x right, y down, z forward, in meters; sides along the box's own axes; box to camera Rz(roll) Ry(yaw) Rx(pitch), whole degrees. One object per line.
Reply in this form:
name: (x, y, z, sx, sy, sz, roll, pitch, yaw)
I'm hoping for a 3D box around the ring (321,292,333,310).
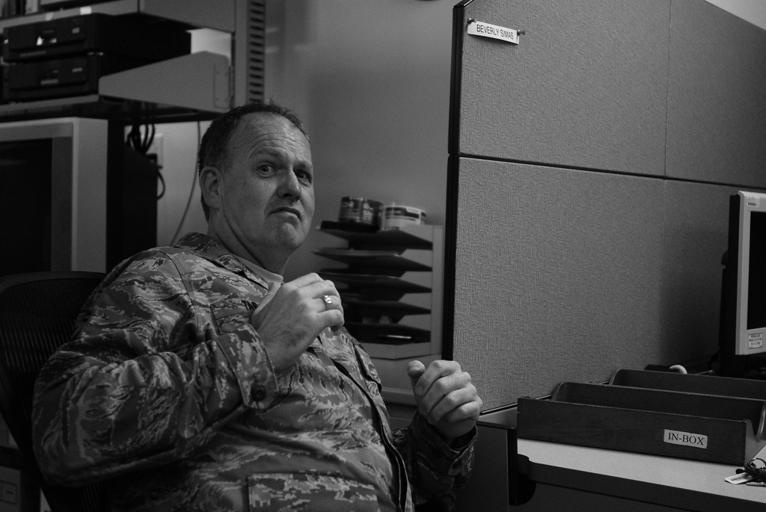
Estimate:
ring: (-0.113, 0.093, 1.429, 0.026, 0.024, 0.020, 5, 4, 15)
